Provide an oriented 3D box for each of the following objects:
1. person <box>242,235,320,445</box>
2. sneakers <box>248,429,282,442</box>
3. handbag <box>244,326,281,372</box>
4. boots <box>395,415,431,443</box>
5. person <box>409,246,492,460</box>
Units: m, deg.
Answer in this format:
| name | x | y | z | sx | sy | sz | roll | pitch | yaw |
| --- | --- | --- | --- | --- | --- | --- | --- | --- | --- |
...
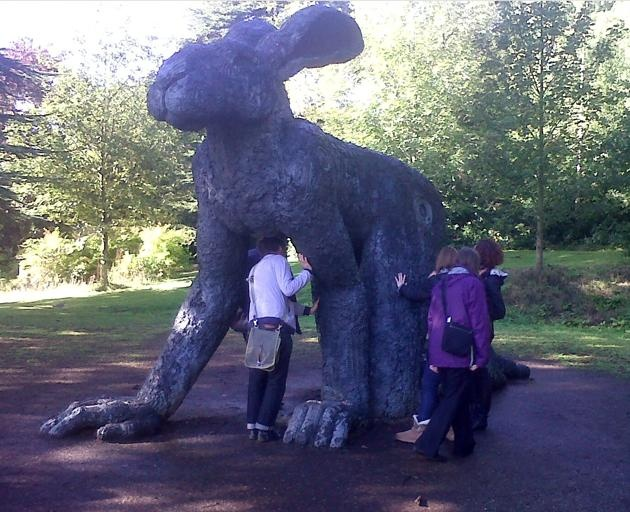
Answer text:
| name | x | y | z | sx | sy | sz | roll | pitch | yaw |
| --- | --- | --- | --- | --- | --- | --- | --- | --- | --- |
| person | -0.400 | 0.872 | 5.818 | 0.590 | 1.313 | 0.487 | 4 | -2 | -7 |
| sneakers | -0.487 | 1.715 | 5.782 | 0.306 | 0.084 | 0.219 | 4 | -3 | -6 |
| handbag | -0.498 | 0.877 | 5.640 | 0.317 | 0.400 | 0.133 | 4 | -15 | 16 |
| boots | 0.947 | 1.717 | 5.821 | 0.243 | 0.151 | 0.316 | 2 | 30 | 47 |
| person | 1.308 | 0.875 | 5.545 | 0.609 | 1.947 | 0.465 | 3 | -2 | 14 |
